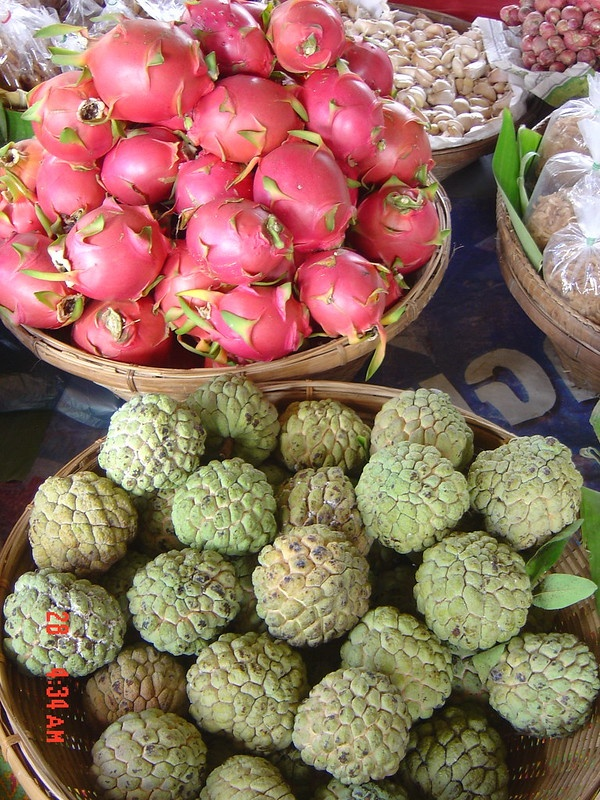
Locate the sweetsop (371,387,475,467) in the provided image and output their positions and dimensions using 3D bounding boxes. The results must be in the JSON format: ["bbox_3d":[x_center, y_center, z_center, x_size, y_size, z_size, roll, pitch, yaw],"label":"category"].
[{"bbox_3d":[0.164,0.031,0.967,0.104,0.107,0.122,40,21,-3],"label":"sweetsop"}]

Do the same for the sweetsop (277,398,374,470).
[{"bbox_3d":[0.038,0.045,1.032,0.127,0.095,0.099,0,13,-4],"label":"sweetsop"}]

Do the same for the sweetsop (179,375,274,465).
[{"bbox_3d":[-0.101,0.020,1.032,0.130,0.104,0.132,16,6,-35],"label":"sweetsop"}]
